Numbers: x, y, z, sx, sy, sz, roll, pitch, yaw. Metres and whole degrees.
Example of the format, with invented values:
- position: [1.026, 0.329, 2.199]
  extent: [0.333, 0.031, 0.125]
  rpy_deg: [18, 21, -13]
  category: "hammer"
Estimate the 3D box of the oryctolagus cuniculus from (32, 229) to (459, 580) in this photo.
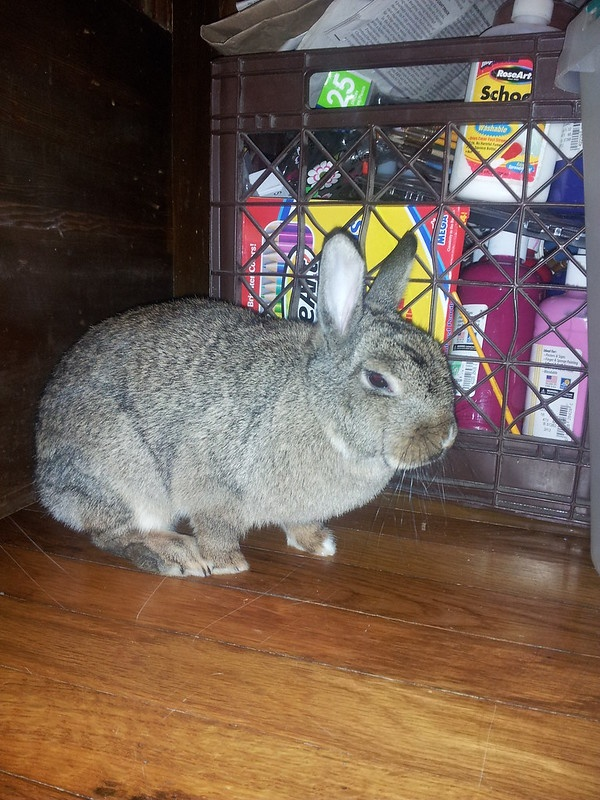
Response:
- position: [-0.134, -0.001, 1.378]
  extent: [0.946, 0.673, 0.515]
  rpy_deg: [9, 21, 22]
  category: "oryctolagus cuniculus"

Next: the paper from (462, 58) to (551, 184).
- position: [0.397, -0.550, 1.266]
  extent: [0.181, 0.230, 0.112]
  rpy_deg: [14, 14, 19]
  category: "paper"

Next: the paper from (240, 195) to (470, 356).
- position: [0.103, -0.341, 1.449]
  extent: [0.436, 0.401, 0.111]
  rpy_deg: [5, 37, 8]
  category: "paper"
